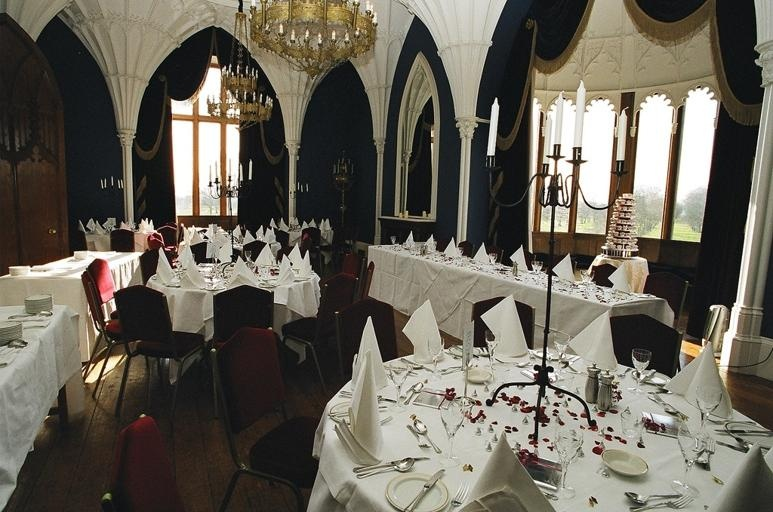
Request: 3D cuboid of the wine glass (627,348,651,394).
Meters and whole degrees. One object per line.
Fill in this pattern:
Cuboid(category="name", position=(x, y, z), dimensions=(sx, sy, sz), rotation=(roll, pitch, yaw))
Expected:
Cuboid(category="wine glass", position=(2.809, 1.212, 6.276), dimensions=(0.167, 0.459, 0.372), rotation=(5, 8, 25))

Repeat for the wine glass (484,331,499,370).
Cuboid(category="wine glass", position=(1.205, 1.032, 6.454), dimensions=(0.119, 0.448, 0.368), rotation=(3, 7, 12))

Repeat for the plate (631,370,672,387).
Cuboid(category="plate", position=(2.965, 1.342, 6.338), dimensions=(0.259, 0.055, 0.205), rotation=(4, 18, 18))

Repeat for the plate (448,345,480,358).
Cuboid(category="plate", position=(0.947, 1.111, 6.735), dimensions=(0.409, 0.090, 0.256), rotation=(3, 7, 8))

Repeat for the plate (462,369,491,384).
Cuboid(category="plate", position=(1.054, 1.312, 6.345), dimensions=(0.266, 0.103, 0.245), rotation=(3, 7, 4))

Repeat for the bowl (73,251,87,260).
Cuboid(category="bowl", position=(-5.185, -0.002, 9.640), dimensions=(0.162, 0.115, 0.166), rotation=(2, -2, 0))

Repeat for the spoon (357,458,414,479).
Cuboid(category="spoon", position=(0.004, 1.986, 5.424), dimensions=(0.567, 0.160, 0.083), rotation=(1, 7, -7))

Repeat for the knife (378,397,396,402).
Cuboid(category="knife", position=(0.020, 1.482, 5.972), dimensions=(0.186, 0.031, 0.061), rotation=(3, 7, 4))

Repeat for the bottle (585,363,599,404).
Cuboid(category="bottle", position=(2.228, 1.347, 6.124), dimensions=(0.146, 0.356, 0.233), rotation=(5, 8, 23))

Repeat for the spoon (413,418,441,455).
Cuboid(category="spoon", position=(0.409, 1.760, 5.653), dimensions=(0.113, 0.093, 0.505), rotation=(-17, 28, -10))

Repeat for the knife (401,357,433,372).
Cuboid(category="knife", position=(0.367, 1.218, 6.455), dimensions=(0.068, 0.070, 0.405), rotation=(-14, 16, -36))

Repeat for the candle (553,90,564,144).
Cuboid(category="candle", position=(1.722, -1.287, 5.638), dimensions=(0.072, 0.411, 0.236), rotation=(3, 7, 12))

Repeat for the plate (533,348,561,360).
Cuboid(category="plate", position=(1.865, 1.111, 6.539), dimensions=(0.184, 0.029, 0.200), rotation=(-2, 8, -9))

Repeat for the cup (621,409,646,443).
Cuboid(category="cup", position=(2.518, 1.697, 5.804), dimensions=(0.193, 0.223, 0.237), rotation=(-6, 6, -43))

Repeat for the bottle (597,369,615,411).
Cuboid(category="bottle", position=(2.348, 1.414, 6.057), dimensions=(0.151, 0.353, 0.290), rotation=(6, 8, 32))
